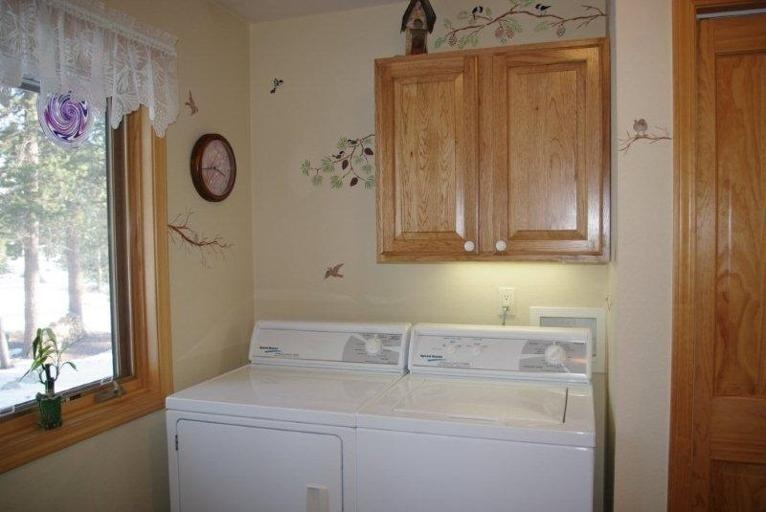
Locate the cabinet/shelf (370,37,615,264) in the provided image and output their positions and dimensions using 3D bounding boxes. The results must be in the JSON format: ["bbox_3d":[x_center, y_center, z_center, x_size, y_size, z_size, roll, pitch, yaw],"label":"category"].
[{"bbox_3d":[0.559,-0.491,2.721,1.149,0.979,0.416,0,0,13],"label":"cabinet/shelf"}]

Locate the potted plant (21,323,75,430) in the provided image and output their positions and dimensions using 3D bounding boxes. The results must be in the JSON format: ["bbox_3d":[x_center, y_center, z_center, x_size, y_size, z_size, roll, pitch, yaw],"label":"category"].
[{"bbox_3d":[-1.392,0.511,2.446,0.153,0.413,0.216,1,2,23],"label":"potted plant"}]

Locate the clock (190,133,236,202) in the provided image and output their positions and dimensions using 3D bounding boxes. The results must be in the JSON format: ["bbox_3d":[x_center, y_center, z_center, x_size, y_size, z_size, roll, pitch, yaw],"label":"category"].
[{"bbox_3d":[-0.912,-0.474,3.027,0.058,0.378,0.400,0,-2,19],"label":"clock"}]
